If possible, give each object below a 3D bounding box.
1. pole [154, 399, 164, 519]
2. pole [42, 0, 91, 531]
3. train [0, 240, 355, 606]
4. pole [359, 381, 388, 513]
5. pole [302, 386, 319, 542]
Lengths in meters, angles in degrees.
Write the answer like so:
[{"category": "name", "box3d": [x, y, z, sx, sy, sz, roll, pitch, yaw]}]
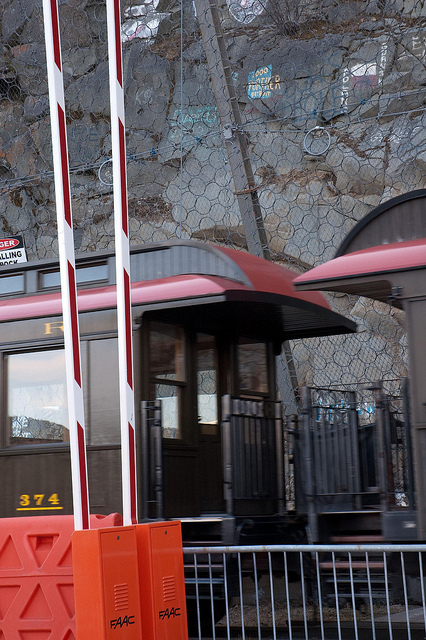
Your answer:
[{"category": "pole", "box3d": [-0.428, 1.108, 8.237, 0.085, 0.927, 0.246, -4, -10, -4]}, {"category": "pole", "box3d": [-0.723, -0.315, 5.101, 0.086, 2.653, 0.450, -3, -10, -8]}, {"category": "train", "box3d": [-0.447, 0.738, 9.768, 2.530, 2.658, 3.530, 1, -9, -23]}, {"category": "pole", "box3d": [1.276, 0.949, 7.840, 0.105, 0.984, 0.413, -6, -10, 8]}, {"category": "pole", "box3d": [0.770, 1.134, 8.185, 0.096, 1.219, 0.232, -5, -10, 3]}]
